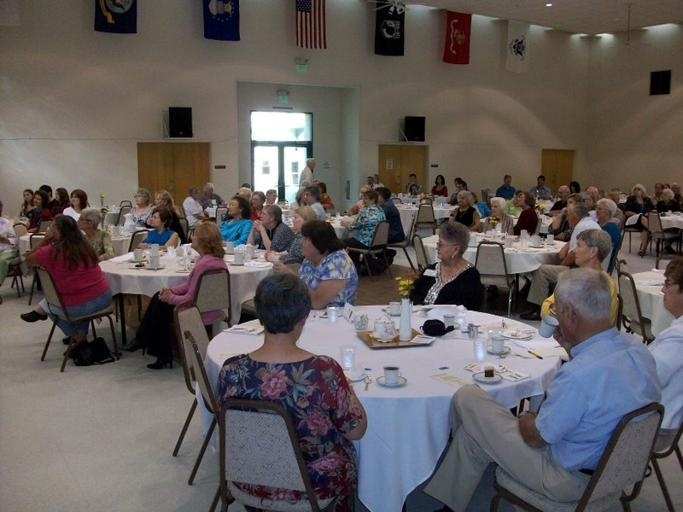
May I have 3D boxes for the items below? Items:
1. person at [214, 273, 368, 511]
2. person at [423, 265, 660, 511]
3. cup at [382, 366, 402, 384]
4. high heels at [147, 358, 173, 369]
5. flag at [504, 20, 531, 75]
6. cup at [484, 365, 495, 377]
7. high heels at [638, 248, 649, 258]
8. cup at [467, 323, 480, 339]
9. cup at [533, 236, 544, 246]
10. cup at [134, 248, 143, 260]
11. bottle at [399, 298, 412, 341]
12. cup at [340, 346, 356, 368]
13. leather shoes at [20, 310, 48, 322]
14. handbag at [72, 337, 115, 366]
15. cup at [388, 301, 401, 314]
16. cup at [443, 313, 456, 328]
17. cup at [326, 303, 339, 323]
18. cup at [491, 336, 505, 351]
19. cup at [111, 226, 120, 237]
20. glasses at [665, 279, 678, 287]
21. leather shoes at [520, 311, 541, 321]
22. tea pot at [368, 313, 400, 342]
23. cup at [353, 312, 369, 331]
[{"bbox_3d":[-0.218,0.690,2.334,0.651,1.179,0.293,0,11,2],"label":"person"},{"bbox_3d":[1.043,0.737,2.790,0.667,1.569,0.978,-16,33,-37],"label":"person"},{"bbox_3d":[0.267,0.648,2.792,0.064,0.075,0.089,-1,-2,2],"label":"cup"},{"bbox_3d":[-1.805,1.078,5.152,0.208,0.107,0.077,7,3,0],"label":"high heels"},{"bbox_3d":[5.895,-6.968,17.281,1.168,1.549,0.136,-8,13,-35],"label":"flag"},{"bbox_3d":[0.815,0.633,2.843,0.042,0.046,0.049,0,1,0],"label":"cup"},{"bbox_3d":[6.531,-0.048,11.205,0.123,0.191,0.443,-1,-3,13],"label":"high heels"},{"bbox_3d":[0.861,0.494,3.418,0.083,0.101,0.090,0,1,0],"label":"cup"},{"bbox_3d":[2.717,-0.193,7.178,0.140,0.163,0.200,-1,0,1],"label":"cup"},{"bbox_3d":[-2.405,-0.021,6.028,0.096,0.115,0.190,7,0,-10],"label":"cup"},{"bbox_3d":[0.417,0.402,3.361,0.080,0.261,0.182,1,11,7],"label":"bottle"},{"bbox_3d":[0.036,0.580,2.963,0.091,0.121,0.100,-1,0,-9],"label":"cup"},{"bbox_3d":[-3.625,0.689,6.087,0.280,0.139,0.169,3,-1,-4],"label":"leather shoes"},{"bbox_3d":[-2.526,0.991,5.328,0.243,0.130,0.326,3,3,23],"label":"handbag"},{"bbox_3d":[0.381,0.378,3.777,0.072,0.067,0.081,-1,2,-8],"label":"cup"},{"bbox_3d":[0.744,0.444,3.568,0.066,0.084,0.072,0,0,0],"label":"cup"},{"bbox_3d":[-0.064,0.419,3.777,0.087,0.109,0.087,0,2,0],"label":"cup"},{"bbox_3d":[0.955,0.545,3.170,0.077,0.094,0.084,-1,5,0],"label":"cup"},{"bbox_3d":[-3.614,-0.383,8.278,0.136,0.183,0.147,-3,4,0],"label":"cup"},{"bbox_3d":[2.148,0.181,3.369,0.034,0.031,0.037,-3,5,-18],"label":"glasses"},{"bbox_3d":[2.397,0.765,6.598,0.307,0.146,0.115,3,1,-14],"label":"leather shoes"},{"bbox_3d":[0.283,0.477,3.395,0.127,0.145,0.139,1,3,0],"label":"tea pot"},{"bbox_3d":[0.141,0.457,3.580,0.075,0.116,0.106,1,11,22],"label":"cup"}]
